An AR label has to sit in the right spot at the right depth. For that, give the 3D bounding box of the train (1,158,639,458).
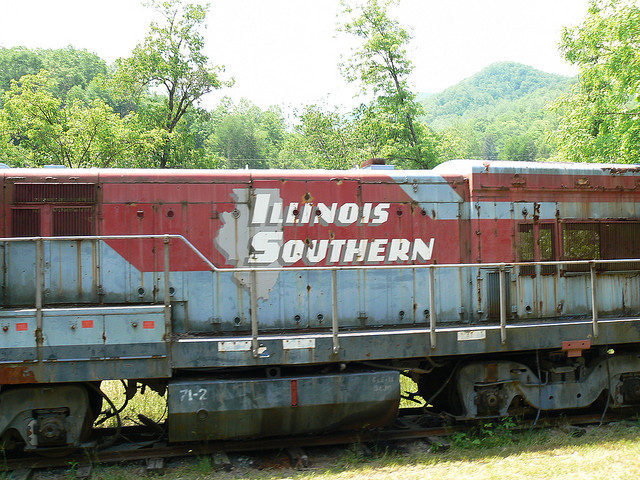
[{"bbox_3d":[0.069,1.134,12.842,11.434,4.854,3.202,-4,15,-14],"label":"train"}]
